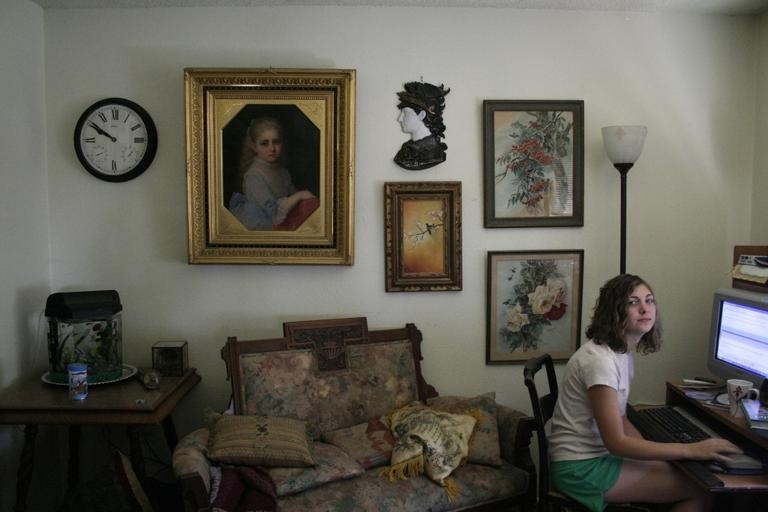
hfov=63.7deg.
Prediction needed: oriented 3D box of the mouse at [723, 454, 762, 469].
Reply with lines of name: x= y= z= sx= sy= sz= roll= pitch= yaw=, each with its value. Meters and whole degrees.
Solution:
mouse: x=2.089 y=1.206 z=3.623 sx=0.149 sy=0.040 sz=0.109 roll=-1 pitch=6 yaw=7

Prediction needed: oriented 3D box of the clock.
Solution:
clock: x=-2.029 y=-0.902 z=4.662 sx=0.660 sy=0.637 sz=0.084 roll=0 pitch=5 yaw=-1

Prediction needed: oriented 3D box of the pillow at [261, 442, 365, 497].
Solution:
pillow: x=-0.498 y=1.384 z=4.273 sx=0.639 sy=0.173 sz=0.648 roll=2 pitch=10 yaw=-33

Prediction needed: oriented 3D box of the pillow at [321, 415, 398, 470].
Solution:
pillow: x=-0.108 y=1.324 z=4.354 sx=0.665 sy=0.145 sz=0.661 roll=5 pitch=7 yaw=2

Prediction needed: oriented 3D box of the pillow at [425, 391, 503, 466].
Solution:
pillow: x=0.569 y=1.179 z=4.307 sx=0.433 sy=0.129 sz=0.438 roll=3 pitch=45 yaw=-2

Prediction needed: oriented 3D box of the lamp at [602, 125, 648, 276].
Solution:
lamp: x=1.801 y=-0.434 z=4.705 sx=0.301 sy=1.106 sz=0.349 roll=1 pitch=6 yaw=16

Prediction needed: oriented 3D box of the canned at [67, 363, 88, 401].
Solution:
canned: x=-2.099 y=0.859 z=4.252 sx=0.137 sy=0.223 sz=0.141 roll=-3 pitch=-1 yaw=33

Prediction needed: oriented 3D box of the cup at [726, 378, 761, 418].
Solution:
cup: x=2.284 y=0.908 z=3.943 sx=0.205 sy=0.182 sz=0.130 roll=3 pitch=-4 yaw=25
